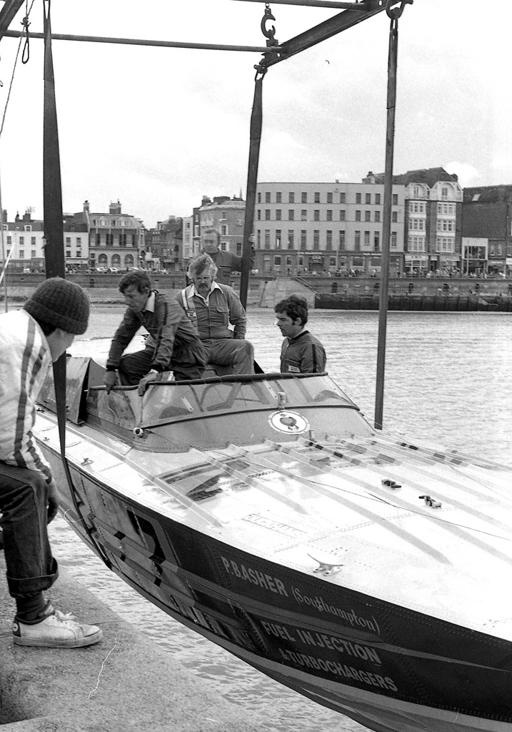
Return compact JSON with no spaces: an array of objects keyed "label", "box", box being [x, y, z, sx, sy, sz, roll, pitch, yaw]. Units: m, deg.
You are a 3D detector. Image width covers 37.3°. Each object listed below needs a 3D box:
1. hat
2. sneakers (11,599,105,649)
[{"label":"hat","box":[-0.710,-0.227,2.711,0.226,0.156,0.222,27,0,-41]},{"label":"sneakers","box":[-0.629,0.850,2.483,0.344,0.139,0.116,1,2,-11]}]
